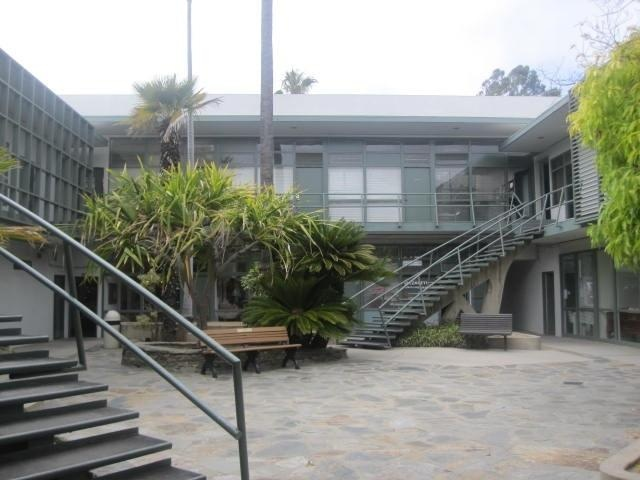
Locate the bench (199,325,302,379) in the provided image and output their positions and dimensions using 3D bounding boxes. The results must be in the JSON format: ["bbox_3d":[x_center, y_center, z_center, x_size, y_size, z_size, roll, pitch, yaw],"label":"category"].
[{"bbox_3d":[-1.445,2.278,10.420,2.284,0.797,0.683,7,-5,-43],"label":"bench"}]

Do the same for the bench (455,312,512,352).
[{"bbox_3d":[4.751,2.638,14.513,1.428,0.999,1.161,-4,-8,17],"label":"bench"}]
